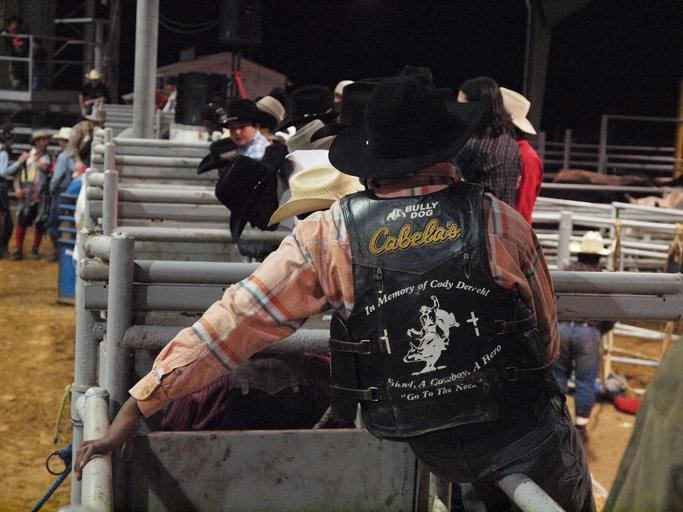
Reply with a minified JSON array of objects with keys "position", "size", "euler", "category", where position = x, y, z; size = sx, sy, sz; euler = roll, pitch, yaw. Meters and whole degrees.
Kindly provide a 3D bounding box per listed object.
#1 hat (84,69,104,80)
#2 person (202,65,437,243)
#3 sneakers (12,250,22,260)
[{"position":[-5.634,-4.102,25.437],"size":[0.471,0.196,0.525],"euler":[-8,18,-3],"category":"hat"},{"position":[-0.451,-0.933,10.535],"size":[1.417,0.808,2.028],"euler":[-34,-5,17],"category":"person"},{"position":[-6.266,-0.003,21.428],"size":[0.208,0.226,0.586],"euler":[1,-1,-15],"category":"sneakers"}]
